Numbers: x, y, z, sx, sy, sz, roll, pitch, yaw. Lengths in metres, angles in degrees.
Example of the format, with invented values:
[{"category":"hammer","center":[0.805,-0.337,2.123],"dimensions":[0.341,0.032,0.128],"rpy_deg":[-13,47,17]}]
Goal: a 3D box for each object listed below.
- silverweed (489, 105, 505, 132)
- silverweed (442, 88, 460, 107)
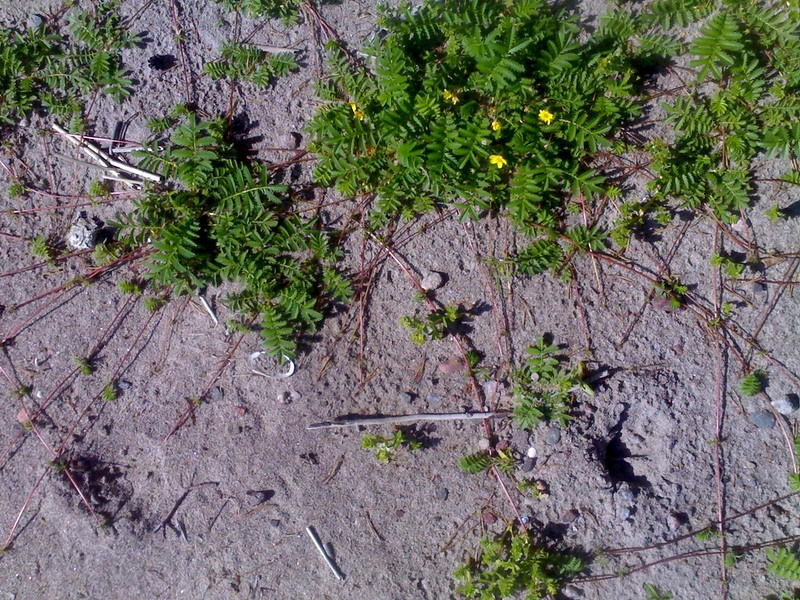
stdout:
[{"category":"silverweed","center":[0.691,-1.278,5.804],"dimensions":[0.100,0.156,0.171],"rpy_deg":[-13,75,5]},{"category":"silverweed","center":[0.364,-1.431,5.763],"dimensions":[0.080,0.159,0.103],"rpy_deg":[-1,75,29]}]
